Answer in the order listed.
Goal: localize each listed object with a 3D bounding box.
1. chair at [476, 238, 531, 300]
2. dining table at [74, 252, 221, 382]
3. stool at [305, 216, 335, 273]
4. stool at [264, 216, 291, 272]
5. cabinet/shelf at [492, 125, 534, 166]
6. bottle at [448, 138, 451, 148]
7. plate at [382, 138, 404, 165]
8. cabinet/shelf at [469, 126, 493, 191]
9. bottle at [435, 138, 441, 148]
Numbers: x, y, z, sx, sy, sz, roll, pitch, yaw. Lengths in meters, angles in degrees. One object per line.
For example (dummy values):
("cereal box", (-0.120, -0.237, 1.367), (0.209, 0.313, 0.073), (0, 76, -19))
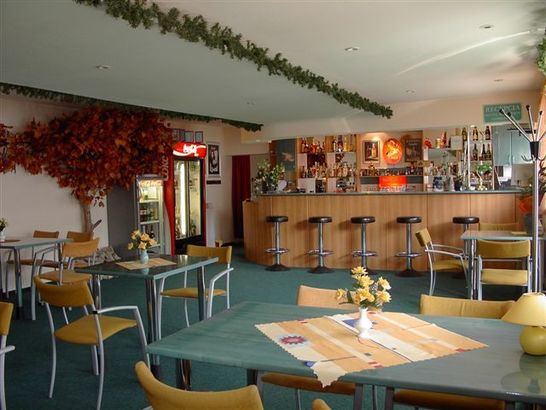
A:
("chair", (3.201, 0.784, 5.691), (0.598, 0.853, 1.885), (1, 5, 31))
("dining table", (-1.267, 1.007, 4.290), (1.119, 0.978, 1.120), (2, 4, 26))
("stool", (0.943, 0.768, 8.268), (0.503, 1.086, 0.667), (-1, 4, 7))
("stool", (0.090, 0.770, 8.540), (0.473, 1.091, 0.672), (-1, 4, 0))
("cabinet/shelf", (5.507, -1.397, 9.547), (0.744, 0.947, 0.350), (1, 5, 28))
("bottle", (4.254, -1.508, 9.949), (0.049, 0.223, 0.767), (0, 4, 20))
("plate", (3.121, -1.400, 10.662), (0.755, 0.851, 0.120), (-1, 0, 13))
("cabinet/shelf", (4.674, -1.097, 9.269), (0.498, 1.489, 1.686), (1, 5, 27))
("bottle", (4.100, -1.530, 10.233), (0.086, 0.251, 0.156), (0, 5, 21))
